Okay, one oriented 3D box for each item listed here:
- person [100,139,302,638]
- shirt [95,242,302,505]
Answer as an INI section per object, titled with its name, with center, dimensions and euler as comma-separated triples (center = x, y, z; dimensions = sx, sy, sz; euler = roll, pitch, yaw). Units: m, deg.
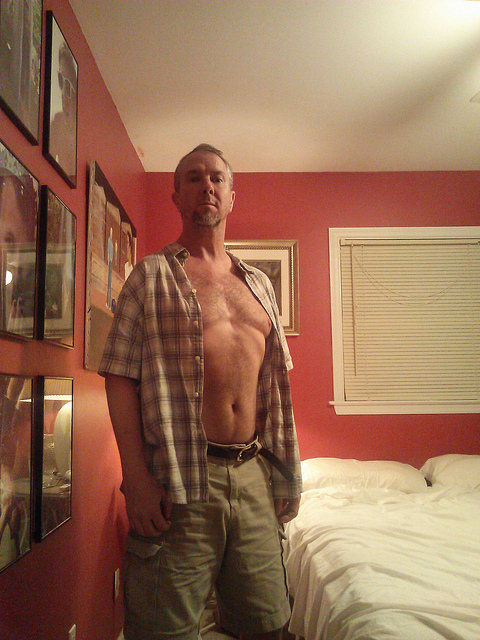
[person]
center = -0.069, 0.114, 1.260
dimensions = 0.284, 1.275, 0.578
euler = -6, -9, 37
[shirt]
center = -0.055, 0.112, 1.247
dimensions = 0.252, 0.680, 0.550
euler = -4, -8, 29
